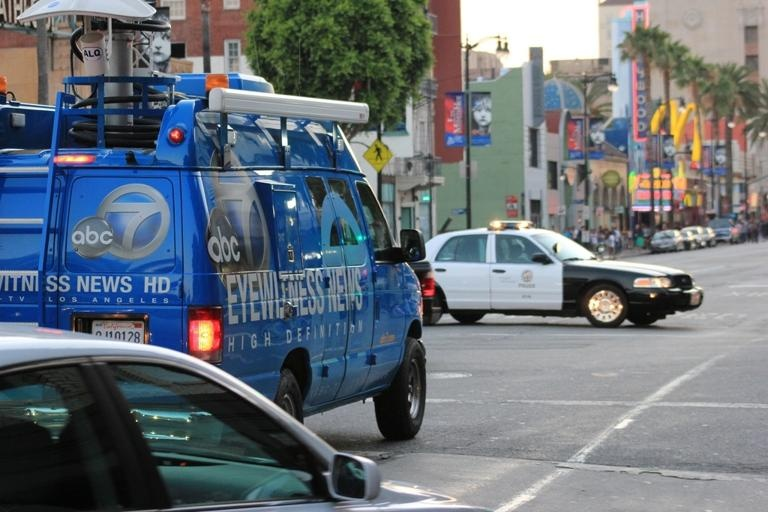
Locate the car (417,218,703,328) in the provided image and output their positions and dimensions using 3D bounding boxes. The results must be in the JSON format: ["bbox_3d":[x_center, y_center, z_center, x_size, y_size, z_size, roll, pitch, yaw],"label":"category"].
[{"bbox_3d":[3.301,0.397,22.406,5.479,1.610,2.151,-1,0,23],"label":"car"}]
